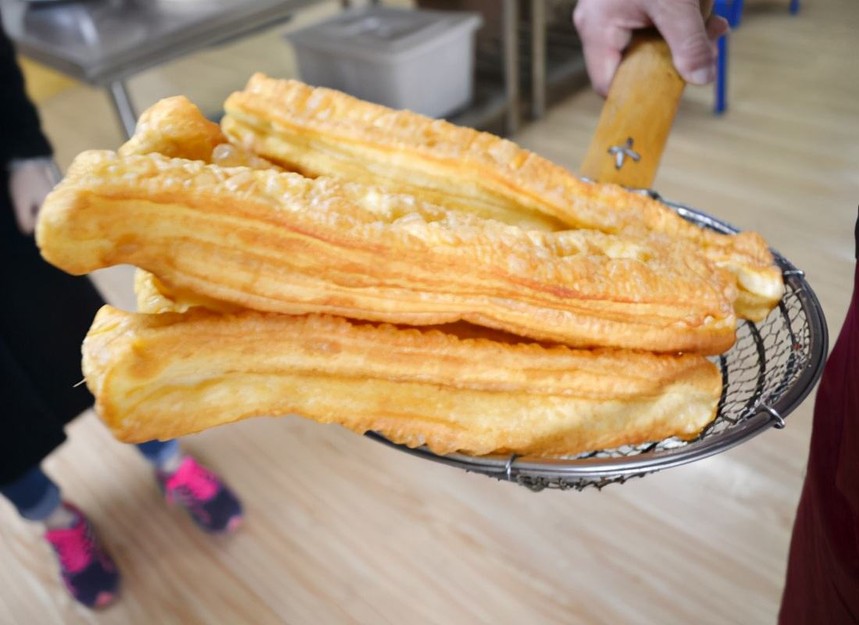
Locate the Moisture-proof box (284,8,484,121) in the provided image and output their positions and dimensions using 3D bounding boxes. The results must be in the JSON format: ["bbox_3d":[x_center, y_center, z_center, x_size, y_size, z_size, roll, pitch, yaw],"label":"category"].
[{"bbox_3d":[-0.124,-0.590,2.129,0.398,0.217,0.340,21,39,32],"label":"Moisture-proof box"}]

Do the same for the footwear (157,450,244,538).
[{"bbox_3d":[-0.380,0.316,1.597,0.084,0.053,0.170,-41,59,-16],"label":"footwear"}]
